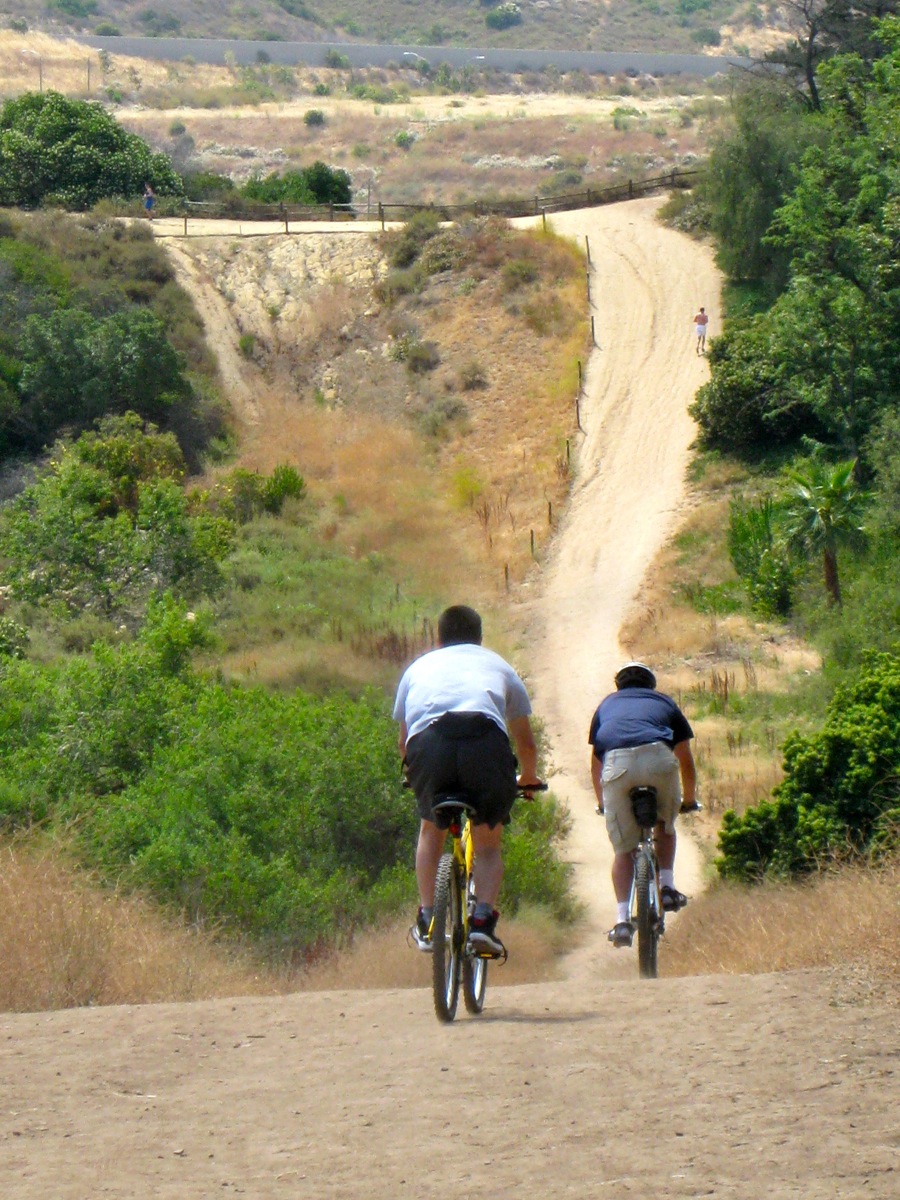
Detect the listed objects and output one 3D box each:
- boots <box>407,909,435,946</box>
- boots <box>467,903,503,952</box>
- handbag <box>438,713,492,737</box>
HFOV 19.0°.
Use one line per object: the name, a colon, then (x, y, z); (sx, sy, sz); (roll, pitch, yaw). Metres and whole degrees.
boots: (-0.537, 6.196, 49.760); (0.278, 0.935, 0.859); (-4, 10, -18)
boots: (0.631, 6.207, 49.756); (0.650, 1.052, 0.382); (-1, 9, -2)
handbag: (0.237, 2.353, 49.535); (0.957, 0.427, 0.088); (-1, 9, 0)
